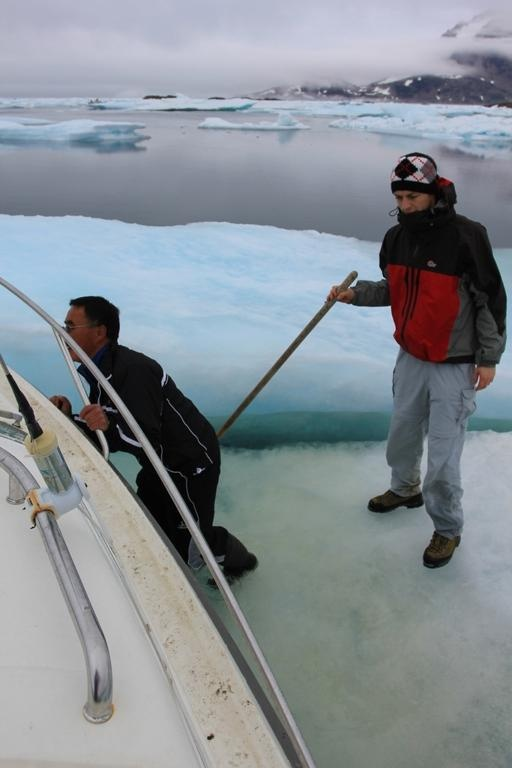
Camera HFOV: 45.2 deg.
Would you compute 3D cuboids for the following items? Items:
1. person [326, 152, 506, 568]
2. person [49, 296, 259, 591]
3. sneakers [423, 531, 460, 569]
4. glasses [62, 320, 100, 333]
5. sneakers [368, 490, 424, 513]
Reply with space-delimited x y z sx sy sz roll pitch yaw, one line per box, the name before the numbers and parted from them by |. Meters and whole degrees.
person | 0.445 -0.052 1.614 0.186 1.038 0.377 -12 21 -19
person | -0.235 0.178 1.453 0.447 0.799 0.260 -12 23 -18
sneakers | 0.482 0.443 1.657 0.050 0.066 0.137 36 73 24
glasses | -0.367 -0.122 1.290 0.050 0.020 0.037 14 7 -10
sneakers | 0.409 0.355 1.869 0.185 0.075 0.063 -3 27 -1
